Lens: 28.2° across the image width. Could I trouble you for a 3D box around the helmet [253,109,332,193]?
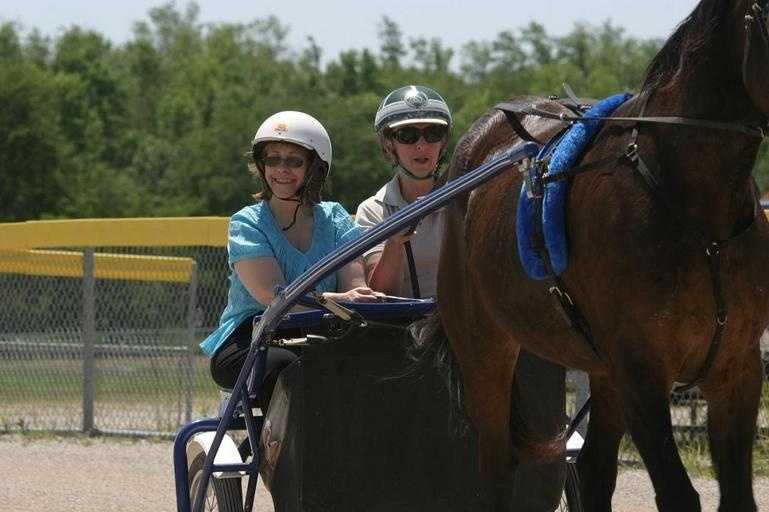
[{"bbox_3d":[-0.669,-0.846,11.689,0.457,0.647,0.469,3,12,9],"label":"helmet"}]
